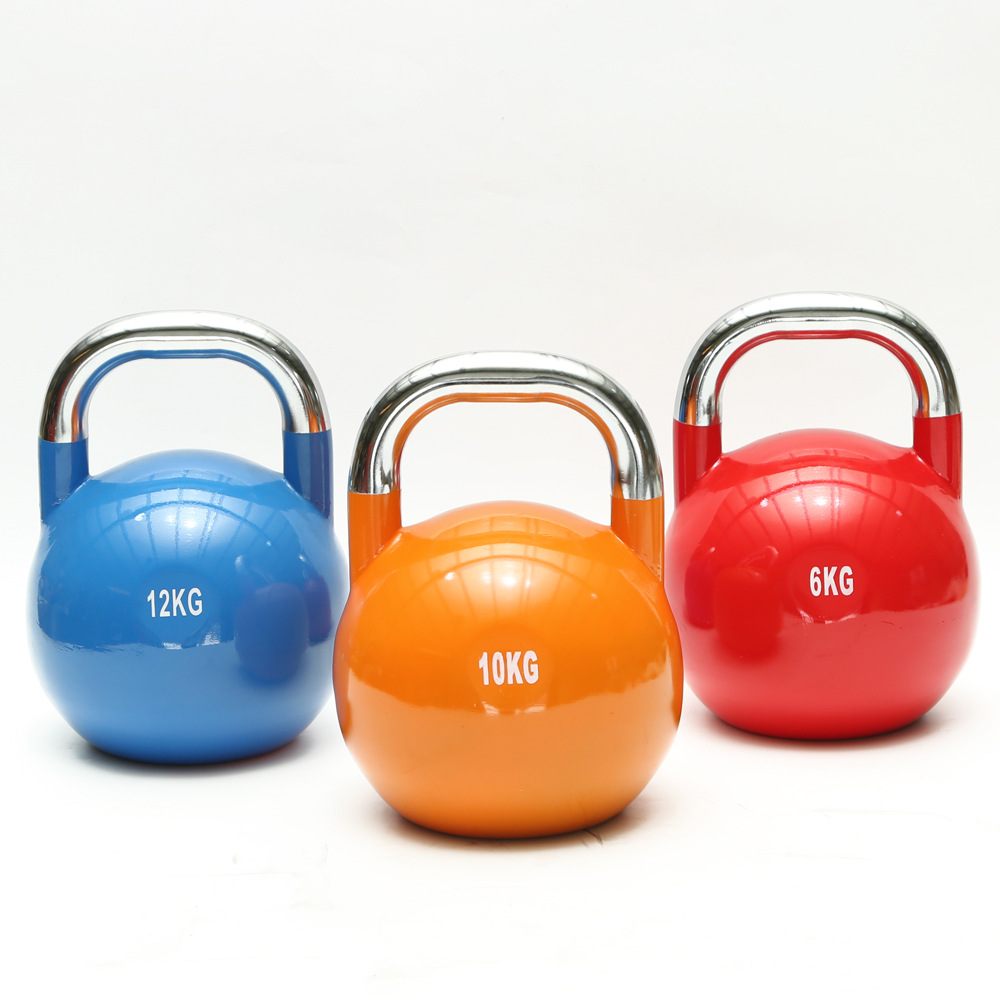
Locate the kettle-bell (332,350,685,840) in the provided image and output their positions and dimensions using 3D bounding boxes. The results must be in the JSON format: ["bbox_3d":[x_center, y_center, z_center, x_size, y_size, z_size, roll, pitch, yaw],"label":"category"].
[{"bbox_3d":[0.022,0.264,2.380,0.804,1.179,0.761,1,-17,-13],"label":"kettle-bell"}]

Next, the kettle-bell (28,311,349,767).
[{"bbox_3d":[-0.715,0.097,2.568,0.718,1.026,0.402,-2,9,-9],"label":"kettle-bell"}]
